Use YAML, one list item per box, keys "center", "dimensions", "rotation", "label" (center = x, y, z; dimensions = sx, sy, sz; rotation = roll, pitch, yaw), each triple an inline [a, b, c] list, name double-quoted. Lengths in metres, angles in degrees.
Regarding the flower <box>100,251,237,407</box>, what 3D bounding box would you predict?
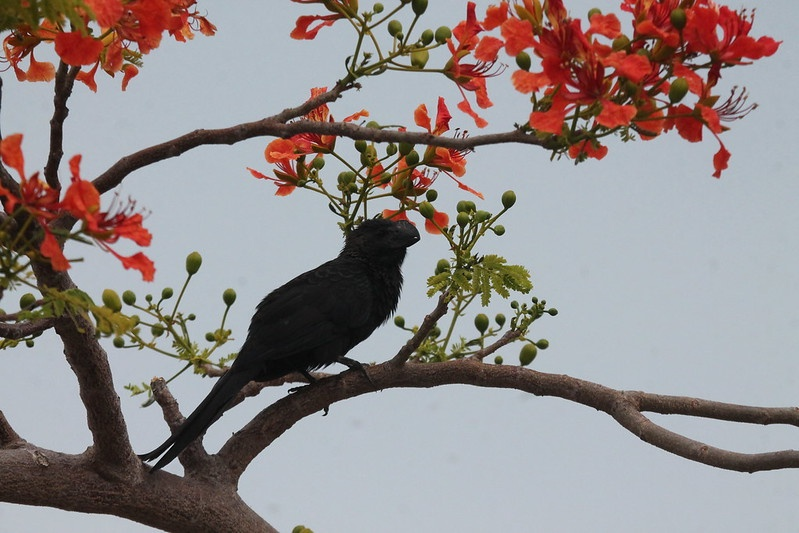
- center: [-0.975, 0.298, 5.879]
  dimensions: [0.627, 0.254, 0.546]
  rotation: [29, -39, -18]
  label: "flower"
